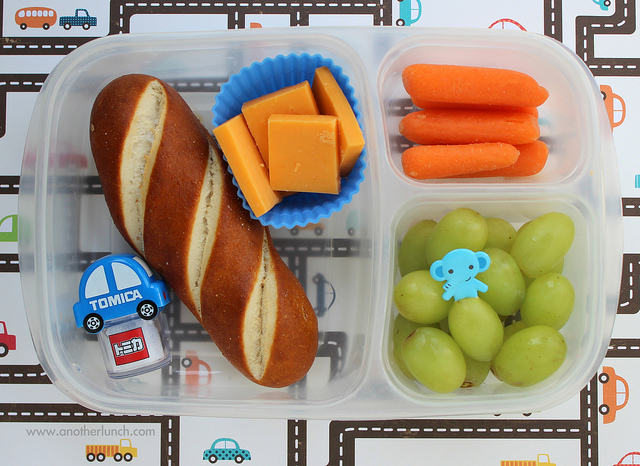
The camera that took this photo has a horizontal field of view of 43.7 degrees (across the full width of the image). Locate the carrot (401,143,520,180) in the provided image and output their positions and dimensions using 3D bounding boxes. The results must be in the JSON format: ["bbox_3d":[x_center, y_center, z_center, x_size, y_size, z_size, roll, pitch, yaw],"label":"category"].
[{"bbox_3d":[0.396,-0.208,2.264,0.324,0.084,0.068,-4,48,1],"label":"carrot"}]

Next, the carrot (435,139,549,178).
[{"bbox_3d":[0.486,-0.202,2.351,0.367,0.141,0.115,0,12,9],"label":"carrot"}]

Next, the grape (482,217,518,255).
[{"bbox_3d":[0.513,0.018,2.277,0.071,0.075,0.111,17,66,-26],"label":"grape"}]

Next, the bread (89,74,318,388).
[{"bbox_3d":[-0.377,-0.020,2.336,0.398,0.340,1.076,-27,76,-39],"label":"bread"}]

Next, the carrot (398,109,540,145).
[{"bbox_3d":[0.436,-0.294,2.324,0.400,0.125,0.136,1,79,14],"label":"carrot"}]
